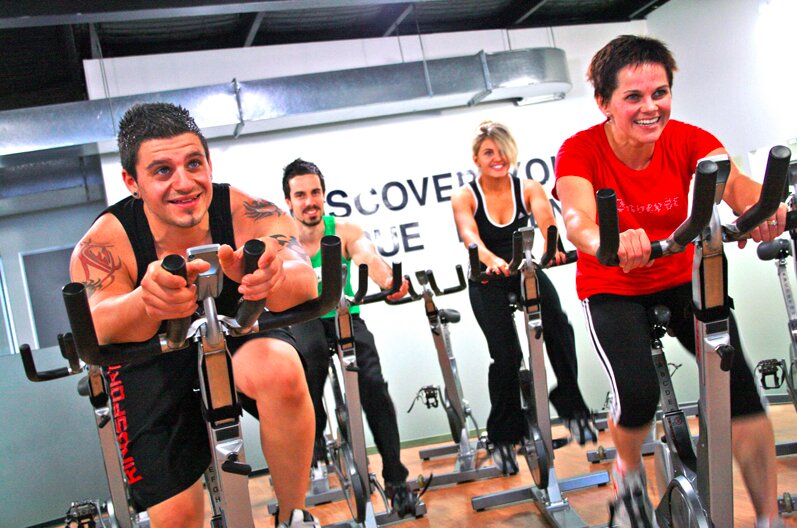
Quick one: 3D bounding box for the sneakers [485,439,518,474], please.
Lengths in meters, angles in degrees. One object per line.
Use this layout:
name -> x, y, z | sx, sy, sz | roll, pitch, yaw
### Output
sneakers -> 0.676, 1.251, 3.619 | 0.190, 0.261, 0.261 | -2, -17, -3

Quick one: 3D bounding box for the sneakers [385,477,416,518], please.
sneakers -> 0.019, 1.360, 3.222 | 0.159, 0.080, 0.210 | 5, -9, 0

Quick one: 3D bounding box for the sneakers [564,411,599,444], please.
sneakers -> 1.166, 1.041, 3.508 | 0.149, 0.075, 0.256 | -17, 1, -1

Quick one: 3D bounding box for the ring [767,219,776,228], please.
ring -> 1.240, -0.131, 1.839 | 0.048, 0.021, 0.013 | -9, -3, -34
